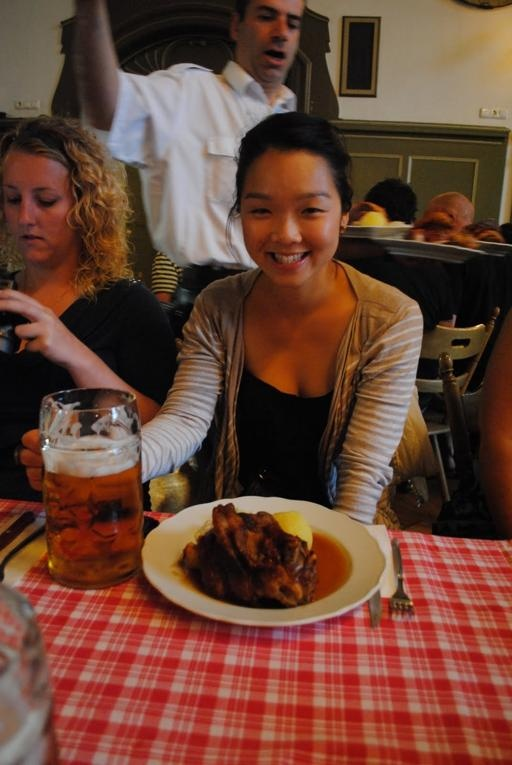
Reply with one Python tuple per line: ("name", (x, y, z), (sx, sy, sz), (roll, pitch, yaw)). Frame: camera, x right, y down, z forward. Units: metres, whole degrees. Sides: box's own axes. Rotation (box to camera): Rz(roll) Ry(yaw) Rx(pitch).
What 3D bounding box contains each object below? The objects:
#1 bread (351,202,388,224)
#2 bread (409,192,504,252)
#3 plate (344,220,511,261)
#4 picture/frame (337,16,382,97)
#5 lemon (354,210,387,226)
("bread", (0.415, -0.626, 2.142), (0.134, 0.088, 0.158), (8, 18, 4))
("bread", (0.733, -0.598, 2.166), (0.346, 0.158, 0.262), (-22, 37, -34))
("plate", (0.586, -0.467, 2.004), (0.370, 0.052, 0.244), (5, 8, -36))
("picture/frame", (0.768, -2.410, 4.277), (0.317, 0.558, 0.069), (-3, 14, -16))
("lemon", (0.408, -0.594, 2.085), (0.096, 0.064, 0.114), (11, 26, 15))
